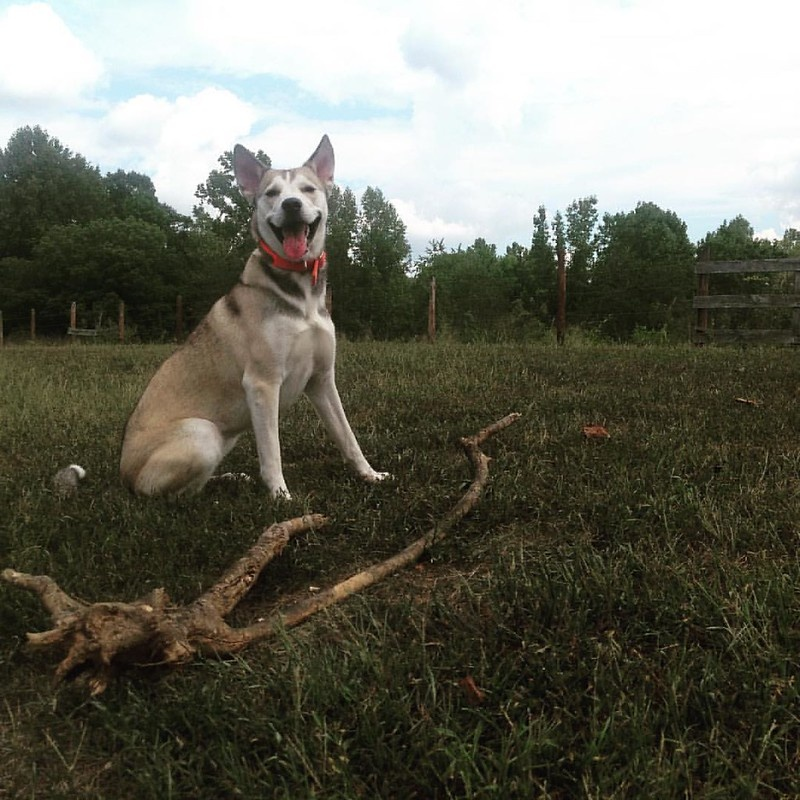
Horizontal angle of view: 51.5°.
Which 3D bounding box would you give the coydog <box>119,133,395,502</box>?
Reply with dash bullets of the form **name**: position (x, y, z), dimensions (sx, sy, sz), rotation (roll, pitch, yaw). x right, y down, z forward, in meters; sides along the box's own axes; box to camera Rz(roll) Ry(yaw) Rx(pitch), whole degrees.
- **coydog**: position (-1.094, -0.599, 5.456), dimensions (1.338, 2.373, 0.773), rotation (0, 6, -12)
